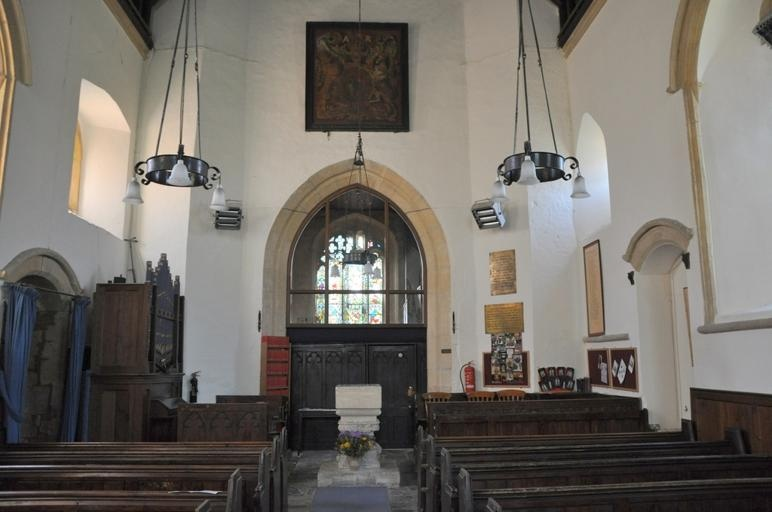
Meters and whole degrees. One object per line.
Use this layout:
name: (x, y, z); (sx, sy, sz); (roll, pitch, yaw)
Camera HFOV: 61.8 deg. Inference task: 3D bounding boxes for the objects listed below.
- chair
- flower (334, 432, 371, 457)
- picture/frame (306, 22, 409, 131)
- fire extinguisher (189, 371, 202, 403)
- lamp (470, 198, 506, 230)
chair: (1.631, 2.860, 11.848); (1.151, 0.638, 0.388); (-1, -22, -2)
flower: (-0.615, 3.493, 12.028); (0.469, 0.368, 0.495); (-5, -11, 35)
picture/frame: (-0.792, -4.386, 16.204); (2.626, 2.879, 0.278); (0, -3, -1)
fire extinguisher: (-4.318, 2.940, 14.529); (0.230, 0.668, 0.297); (3, -13, -19)
lamp: (2.374, -0.906, 14.889); (0.653, 0.478, 0.718); (-4, -42, 23)
